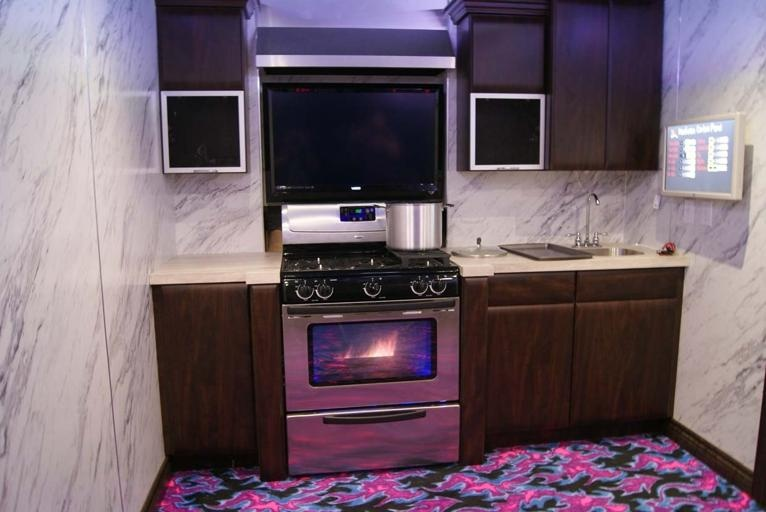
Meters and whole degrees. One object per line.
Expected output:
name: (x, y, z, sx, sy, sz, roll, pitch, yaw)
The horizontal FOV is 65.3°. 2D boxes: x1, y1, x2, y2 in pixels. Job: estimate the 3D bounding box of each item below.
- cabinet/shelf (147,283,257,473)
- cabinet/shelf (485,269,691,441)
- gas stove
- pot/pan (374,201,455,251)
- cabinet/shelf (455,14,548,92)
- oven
cabinet/shelf: (-1.124, 0.802, 3.721, 0.698, 1.102, 0.703, -30, -33, 31)
cabinet/shelf: (1.117, 0.591, 4.033, 1.393, 1.087, 0.697, -1, 10, -10)
gas stove: (-0.112, 0.092, 3.757, 1.034, 0.284, 0.692, -1, 7, -8)
pot/pan: (0.206, -0.197, 3.712, 0.310, 0.197, 0.307, -3, 7, -21)
cabinet/shelf: (0.772, -1.315, 4.046, 0.491, 0.460, 0.503, -1, 8, -3)
oven: (-0.023, 0.615, 3.963, 1.343, 1.328, 0.950, -1, 3, -6)
